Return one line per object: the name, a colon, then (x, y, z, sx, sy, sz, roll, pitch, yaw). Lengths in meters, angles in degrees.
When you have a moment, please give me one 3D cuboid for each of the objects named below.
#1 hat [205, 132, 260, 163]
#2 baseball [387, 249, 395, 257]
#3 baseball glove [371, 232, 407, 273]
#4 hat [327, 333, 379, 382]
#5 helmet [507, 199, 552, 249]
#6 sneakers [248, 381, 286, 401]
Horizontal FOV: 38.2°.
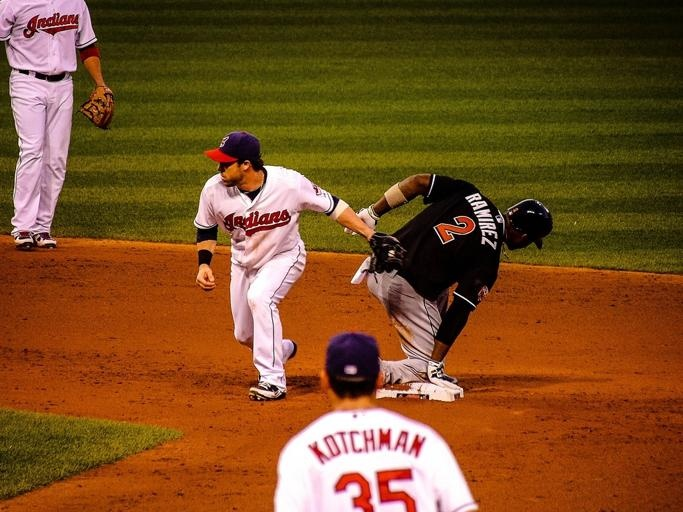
hat: (-0.927, -0.946, 8.538, 0.548, 0.253, 0.357, -2, 14, -16)
baseball: (0.417, -0.022, 8.352, 0.059, 0.043, 0.032, -2, 26, -8)
baseball glove: (0.379, -0.001, 8.497, 0.275, 0.353, 0.153, -15, -5, -11)
hat: (0.059, 0.525, 5.819, 0.339, 0.237, 0.455, 1, 17, 0)
helmet: (1.674, -0.308, 8.987, 0.451, 0.393, 0.354, -5, 1, 36)
sneakers: (-0.668, 1.205, 8.692, 0.332, 0.157, 0.130, 18, -15, -39)
